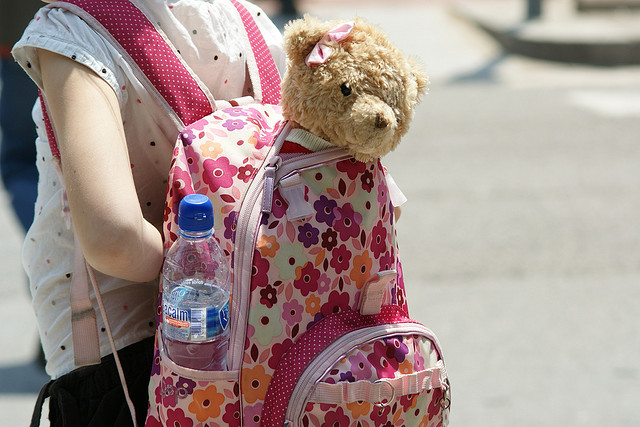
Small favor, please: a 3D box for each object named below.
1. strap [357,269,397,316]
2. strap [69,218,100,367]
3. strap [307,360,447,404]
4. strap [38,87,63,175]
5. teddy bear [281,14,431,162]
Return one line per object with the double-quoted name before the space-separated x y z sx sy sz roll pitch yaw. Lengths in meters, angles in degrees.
"strap" 0.269 0.377 5.868 0.186 0.198 0.036 -5 6 -18
"strap" -1.128 0.370 5.858 0.131 0.711 0.051 -6 9 10
"strap" 0.277 0.795 5.818 0.675 0.148 0.075 -5 6 -16
"strap" -1.254 -0.378 5.788 0.067 0.316 0.223 -17 -1 16
"teddy bear" 0.145 -0.551 6.084 0.699 0.776 0.856 7 -6 -6
